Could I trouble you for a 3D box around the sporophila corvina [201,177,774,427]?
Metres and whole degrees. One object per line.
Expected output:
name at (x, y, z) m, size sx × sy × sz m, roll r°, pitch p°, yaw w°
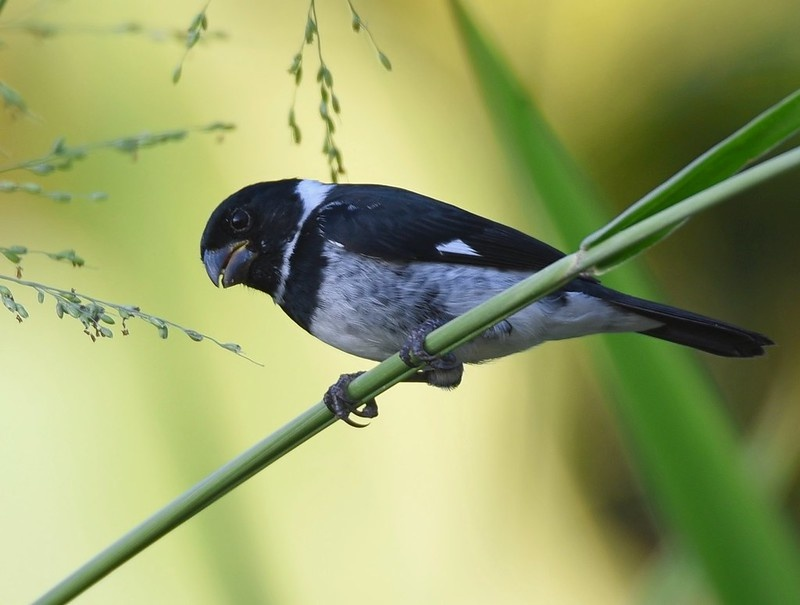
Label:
sporophila corvina at (0.171, -0.020, 1.959) m, size 1.196 × 0.479 × 0.360 m, roll -1°, pitch -27°, yaw -2°
